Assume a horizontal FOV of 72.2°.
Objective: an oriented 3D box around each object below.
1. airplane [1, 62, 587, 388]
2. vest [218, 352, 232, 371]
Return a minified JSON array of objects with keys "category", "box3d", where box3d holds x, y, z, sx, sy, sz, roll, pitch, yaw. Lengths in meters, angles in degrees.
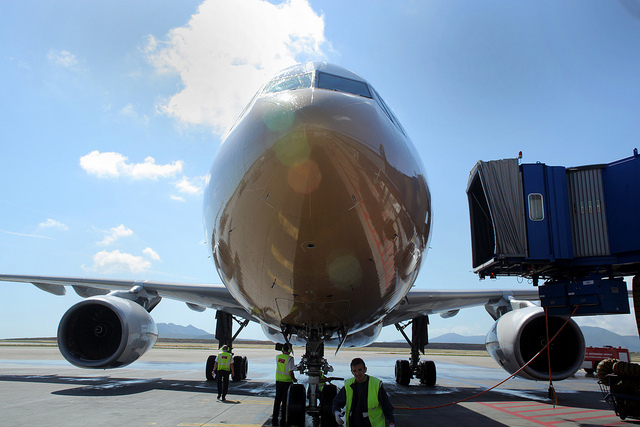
[{"category":"airplane","box3d":[-0.122,0.433,14.008,13.513,5.008,11.871,1,-7,0]},{"category":"vest","box3d":[-3.144,4.816,14.317,0.565,0.705,0.386,0,-17,1]}]
